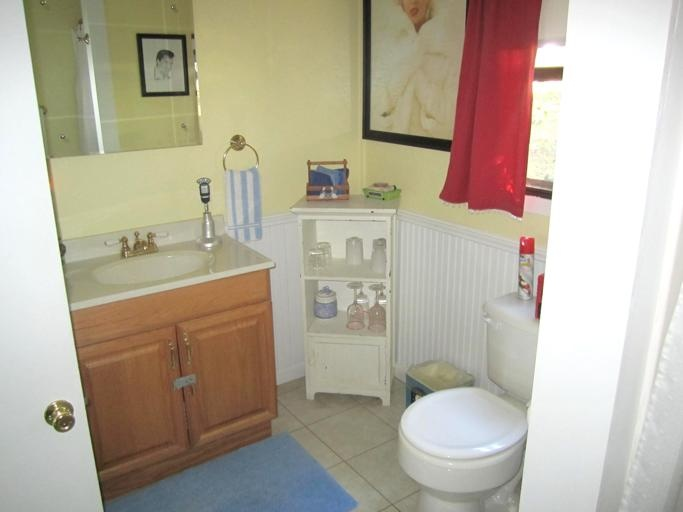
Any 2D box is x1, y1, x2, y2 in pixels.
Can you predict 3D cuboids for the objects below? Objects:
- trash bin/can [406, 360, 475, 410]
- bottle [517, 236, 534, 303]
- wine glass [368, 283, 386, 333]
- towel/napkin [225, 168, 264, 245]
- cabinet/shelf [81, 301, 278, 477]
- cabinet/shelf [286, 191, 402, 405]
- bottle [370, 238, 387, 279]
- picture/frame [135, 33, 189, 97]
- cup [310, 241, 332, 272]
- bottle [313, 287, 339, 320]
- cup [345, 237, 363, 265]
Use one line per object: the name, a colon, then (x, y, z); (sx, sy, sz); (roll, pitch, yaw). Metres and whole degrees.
trash bin/can: (0.504, 0.781, 2.888); (0.220, 0.226, 0.279); (-6, 17, -38)
bottle: (0.837, 0.046, 2.340); (0.070, 0.265, 0.170); (3, 15, 18)
wine glass: (0.209, 0.326, 3.066); (0.160, 0.295, 0.171); (2, -10, -9)
towel/napkin: (-0.551, -0.282, 2.941); (0.223, 0.419, 0.042); (-9, 16, -28)
cabinet/shelf: (-0.849, 0.601, 2.634); (0.898, 0.868, 0.440); (-11, 22, -30)
cabinet/shelf: (0.029, 0.279, 3.058); (0.500, 1.175, 0.304); (0, 13, 4)
bottle: (0.213, 0.018, 2.996); (0.093, 0.171, 0.166); (1, 2, -1)
picture/frame: (-0.905, -0.953, 2.567); (0.270, 0.342, 0.023); (-12, 26, -30)
cup: (-0.124, -0.004, 3.036); (0.160, 0.171, 0.097); (-19, 30, -39)
bottle: (-0.097, 0.281, 3.125); (0.132, 0.219, 0.137); (0, 20, 0)
cup: (0.073, -0.024, 3.064); (0.085, 0.135, 0.090); (1, 26, -1)
